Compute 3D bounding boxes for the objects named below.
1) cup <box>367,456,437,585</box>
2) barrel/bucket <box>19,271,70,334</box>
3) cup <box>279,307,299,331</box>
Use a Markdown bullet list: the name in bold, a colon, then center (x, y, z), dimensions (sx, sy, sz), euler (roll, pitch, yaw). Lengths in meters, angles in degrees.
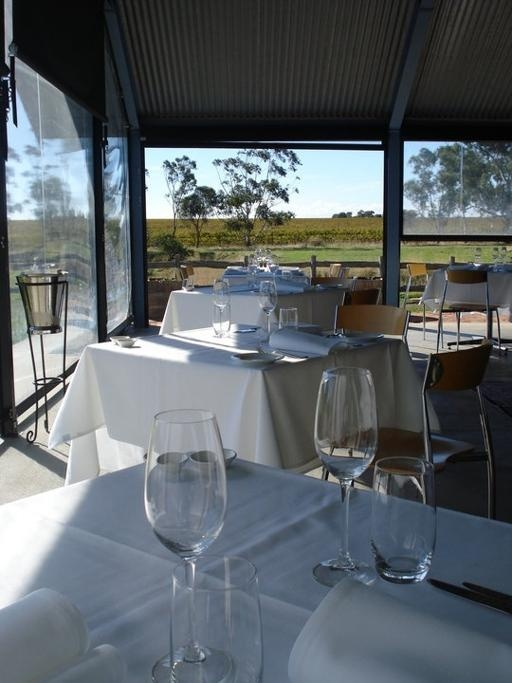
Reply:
- **cup**: center (0.154, 0.186, 0.502), dimensions (0.060, 0.123, 0.074), euler (3, 11, 16)
- **barrel/bucket**: center (-1.299, -0.242, 3.056), dimensions (0.327, 0.434, 0.374), euler (0, 2, 4)
- **cup**: center (0.130, -0.093, 1.889), dimensions (0.068, 0.086, 0.076), euler (0, 0, 0)
